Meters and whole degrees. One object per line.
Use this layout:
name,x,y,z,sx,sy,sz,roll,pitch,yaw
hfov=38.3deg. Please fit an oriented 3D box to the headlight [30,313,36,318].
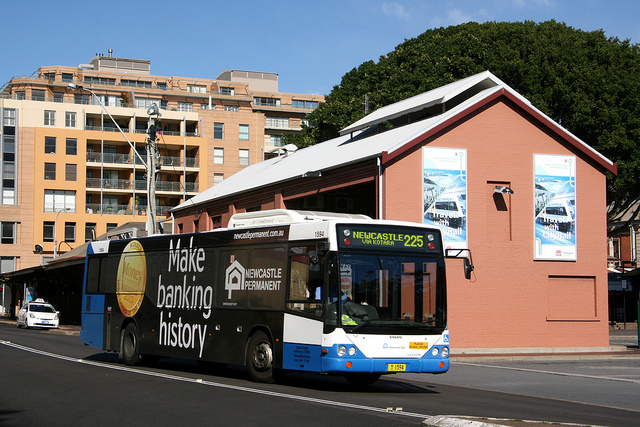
headlight,-19.525,6.851,62.255,0.219,0.256,0.513,0,3,-43

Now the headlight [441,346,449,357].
headlight,4.134,4.567,30.668,0.269,0.281,0.271,5,0,-19

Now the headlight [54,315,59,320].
headlight,-17.881,6.986,62.289,0.188,0.335,0.336,-1,-5,-17

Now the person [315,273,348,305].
person,0.325,2.422,30.007,1.075,0.974,0.290,3,2,27
